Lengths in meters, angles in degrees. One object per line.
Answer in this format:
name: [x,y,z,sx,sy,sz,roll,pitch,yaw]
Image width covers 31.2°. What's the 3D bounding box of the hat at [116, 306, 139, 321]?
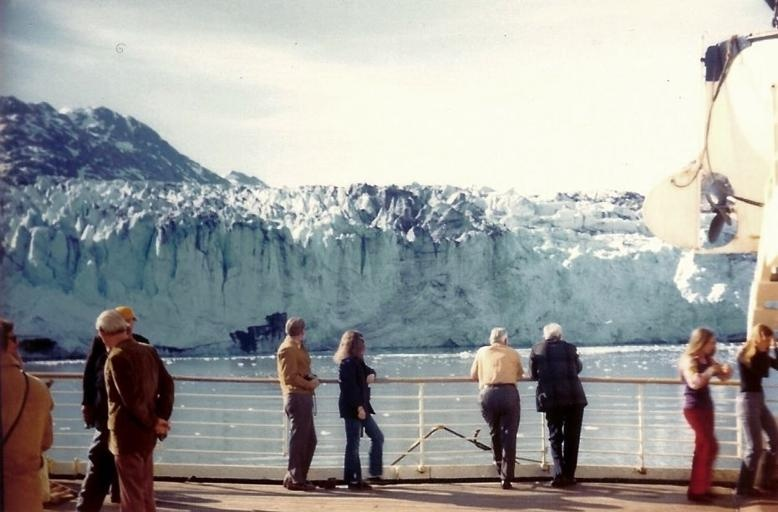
hat: [-10.065,2.123,52.161,0.785,0.377,0.553,3,-1,10]
